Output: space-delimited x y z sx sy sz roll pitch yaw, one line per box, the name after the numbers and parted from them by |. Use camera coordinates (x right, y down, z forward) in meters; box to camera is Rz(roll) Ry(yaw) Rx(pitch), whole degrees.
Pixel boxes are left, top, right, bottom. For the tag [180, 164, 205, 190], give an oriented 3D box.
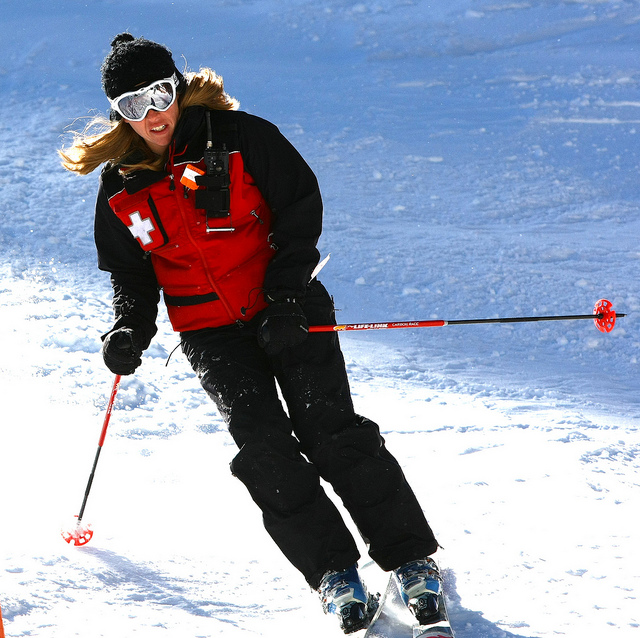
-0.522 -0.582 4.005 0.091 0.099 0.056 1 13 16 | tag

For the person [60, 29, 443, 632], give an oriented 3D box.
-0.279 0.048 4.012 0.778 2.455 1.561 -14 17 -42 | person

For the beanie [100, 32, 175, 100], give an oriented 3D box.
-0.783 -1.055 4.104 0.361 0.226 0.250 3 7 -1 | beanie
